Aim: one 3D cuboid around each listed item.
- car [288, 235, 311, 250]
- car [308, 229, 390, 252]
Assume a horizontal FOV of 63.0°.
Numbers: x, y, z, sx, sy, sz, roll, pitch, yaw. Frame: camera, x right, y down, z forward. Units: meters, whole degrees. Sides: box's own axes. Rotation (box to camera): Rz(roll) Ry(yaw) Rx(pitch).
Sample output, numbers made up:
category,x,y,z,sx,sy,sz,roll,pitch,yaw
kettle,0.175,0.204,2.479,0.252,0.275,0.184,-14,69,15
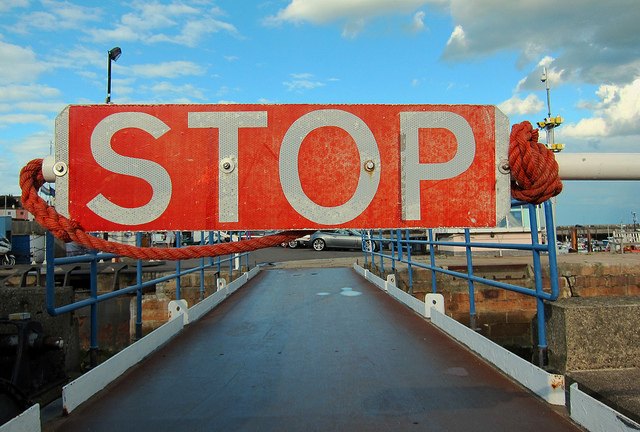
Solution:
category,x,y,z,sx,sy,sz,roll,pitch,yaw
car,-1.170,1.431,27.729,1.009,0.721,2.463,-2,7,-6
car,1.139,1.070,23.657,2.900,0.982,1.453,-1,-4,10
